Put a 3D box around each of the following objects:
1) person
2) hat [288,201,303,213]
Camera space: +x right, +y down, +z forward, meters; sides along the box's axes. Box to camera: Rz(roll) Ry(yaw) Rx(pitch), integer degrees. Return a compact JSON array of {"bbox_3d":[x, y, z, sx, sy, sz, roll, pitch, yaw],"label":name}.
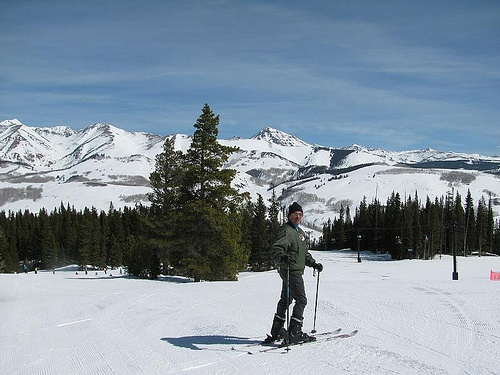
[{"bbox_3d":[1.182,2.312,16.695,1.232,3.788,1.354,0,-1,6],"label":"person"},{"bbox_3d":[1.210,0.552,16.522,0.325,0.242,0.305,-14,6,-30],"label":"hat"}]
